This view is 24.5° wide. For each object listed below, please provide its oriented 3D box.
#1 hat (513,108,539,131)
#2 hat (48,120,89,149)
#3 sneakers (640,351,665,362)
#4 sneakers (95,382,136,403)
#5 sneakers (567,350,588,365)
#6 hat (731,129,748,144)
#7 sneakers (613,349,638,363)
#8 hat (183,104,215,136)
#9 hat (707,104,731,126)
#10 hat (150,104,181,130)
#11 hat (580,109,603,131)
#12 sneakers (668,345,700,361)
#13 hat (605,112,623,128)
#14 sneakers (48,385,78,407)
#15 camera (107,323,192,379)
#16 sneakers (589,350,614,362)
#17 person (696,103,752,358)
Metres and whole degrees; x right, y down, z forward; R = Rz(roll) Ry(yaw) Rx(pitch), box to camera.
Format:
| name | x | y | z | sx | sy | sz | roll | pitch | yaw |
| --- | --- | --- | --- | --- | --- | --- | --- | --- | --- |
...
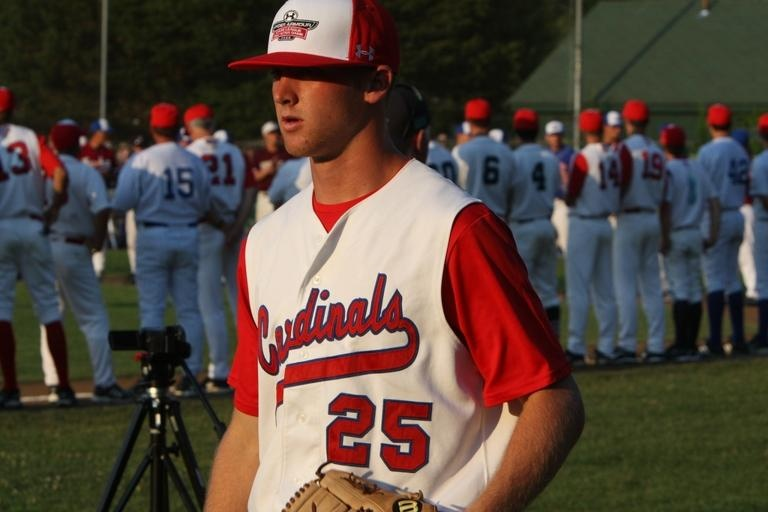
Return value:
| name | x | y | z | sx | sy | sz | roll | pitch | yaw |
| --- | --- | --- | --- | --- | --- | --- | --- | --- | --- |
| hat | 1.160 | -1.142 | 14.526 | 0.128 | 0.140 | 0.178 | -2 | 4 | -24 |
| hat | -2.169 | -0.837 | 11.997 | 0.176 | 0.193 | 0.195 | 2 | 30 | -25 |
| sneakers | 1.862 | 0.701 | 12.256 | 0.160 | 0.078 | 0.060 | -6 | -7 | 38 |
| sneakers | -1.883 | 0.964 | 12.208 | 0.231 | 0.124 | 0.094 | 0 | 2 | -25 |
| sneakers | 1.460 | 0.787 | 13.491 | 0.171 | 0.082 | 0.063 | 25 | -1 | 17 |
| hat | 2.460 | -0.844 | 12.239 | 0.097 | 0.119 | 0.091 | -21 | -6 | 8 |
| sneakers | 1.669 | 0.696 | 12.323 | 0.087 | 0.101 | 0.236 | -1 | 1 | -30 |
| hat | -1.531 | -1.114 | 14.457 | 0.213 | 0.295 | 0.251 | -2 | 27 | -9 |
| hat | 2.299 | -1.008 | 12.281 | 0.166 | 0.139 | 0.283 | 2 | 19 | 6 |
| hat | -1.621 | -1.048 | 13.008 | 0.099 | 0.192 | 0.396 | 0 | 1 | 22 |
| hat | 1.502 | -0.998 | 12.735 | 0.128 | 0.100 | 0.219 | 6 | 20 | 8 |
| sneakers | 2.054 | 0.683 | 12.184 | 0.244 | 0.115 | 0.086 | 6 | -11 | 3 |
| hat | 1.637 | -0.989 | 12.611 | 0.060 | 0.099 | 0.110 | 23 | 10 | -17 |
| sneakers | -2.194 | 0.955 | 11.984 | 0.165 | 0.179 | 0.104 | 5 | -7 | -13 |
| camera | -1.481 | 0.555 | 11.259 | 0.466 | 0.406 | 0.339 | 0 | 3 | -10 |
| sneakers | 1.572 | 0.725 | 12.745 | 0.111 | 0.131 | 0.287 | 0 | -3 | -21 |
| person | 2.349 | -0.182 | 12.184 | 0.344 | 1.725 | 0.120 | 0 | 1 | 9 |
